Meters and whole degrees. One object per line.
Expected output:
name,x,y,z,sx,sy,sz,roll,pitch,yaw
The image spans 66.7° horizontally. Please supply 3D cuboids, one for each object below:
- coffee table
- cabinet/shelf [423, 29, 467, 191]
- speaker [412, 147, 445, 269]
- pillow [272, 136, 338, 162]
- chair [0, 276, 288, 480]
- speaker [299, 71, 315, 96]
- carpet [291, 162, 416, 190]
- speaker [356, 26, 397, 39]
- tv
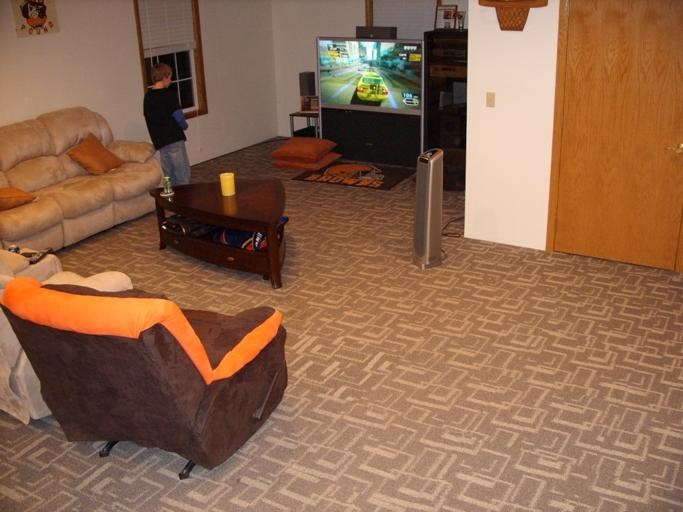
coffee table,-1.196,-0.407,5.597,1.518,0.689,1.153,19,43,25
cabinet/shelf,1.455,-2.026,7.332,0.729,2.137,0.394,8,25,20
speaker,0.892,-0.491,5.385,0.339,1.190,0.281,-7,10,-19
pillow,-0.645,-1.730,8.419,0.558,0.191,0.604,5,27,20
chair,-1.076,0.655,3.201,1.547,1.256,0.872,-13,26,-25
speaker,-0.605,-3.036,9.168,0.278,0.523,0.282,10,33,17
carpet,0.233,-1.275,8.130,1.699,0.142,0.957,6,25,18
speaker,0.552,-3.465,8.068,0.624,0.181,0.558,4,24,12
tv,0.495,-2.822,8.101,1.443,0.872,0.058,6,15,22
